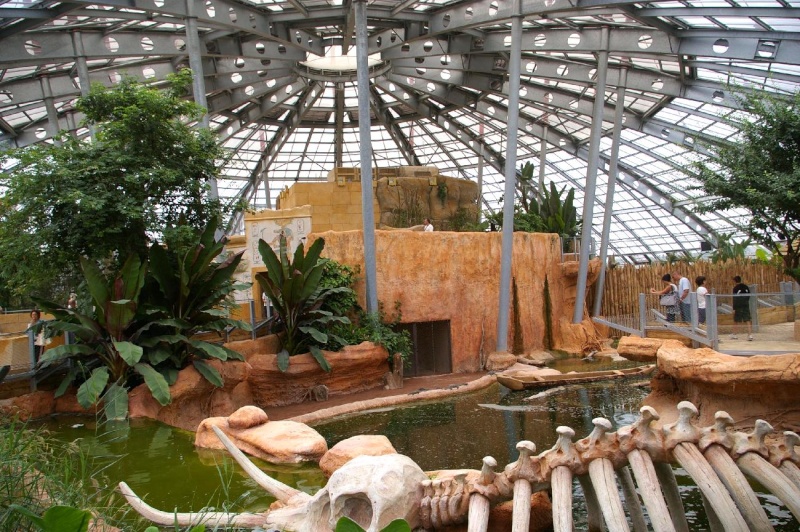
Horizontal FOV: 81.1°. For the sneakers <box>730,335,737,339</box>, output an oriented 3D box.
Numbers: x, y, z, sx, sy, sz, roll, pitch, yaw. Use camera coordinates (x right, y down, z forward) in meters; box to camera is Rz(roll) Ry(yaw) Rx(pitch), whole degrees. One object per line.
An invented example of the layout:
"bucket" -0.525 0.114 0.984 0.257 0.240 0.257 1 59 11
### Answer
"sneakers" 6.853 1.434 9.510 0.105 0.107 0.053 -1 6 33
